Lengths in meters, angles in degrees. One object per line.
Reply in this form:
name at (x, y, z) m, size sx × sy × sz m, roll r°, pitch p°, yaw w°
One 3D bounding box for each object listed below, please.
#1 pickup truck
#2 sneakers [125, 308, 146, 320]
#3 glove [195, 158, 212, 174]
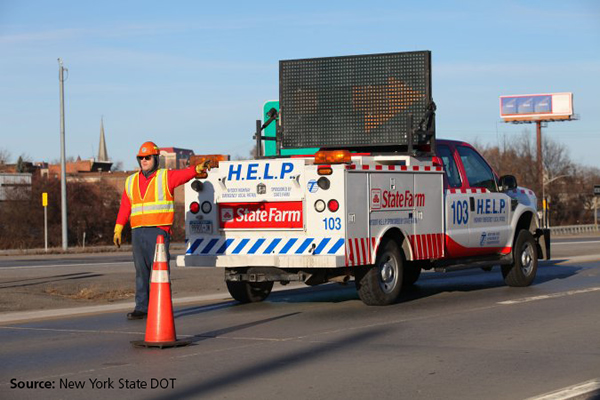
pickup truck at (1.824, -0.470, 19.887) m, size 3.680 × 4.648 × 8.401 m, roll -2°, pitch 0°, yaw 37°
sneakers at (-3.060, 2.125, 16.737) m, size 0.352 × 0.191 × 0.171 m, roll 6°, pitch -6°, yaw -17°
glove at (-1.792, -0.603, 16.550) m, size 0.294 × 0.240 × 0.252 m, roll -3°, pitch 4°, yaw -25°
